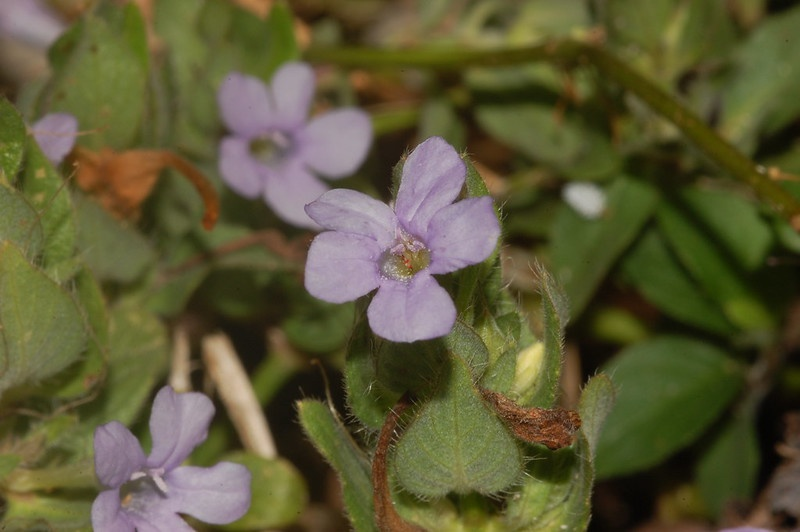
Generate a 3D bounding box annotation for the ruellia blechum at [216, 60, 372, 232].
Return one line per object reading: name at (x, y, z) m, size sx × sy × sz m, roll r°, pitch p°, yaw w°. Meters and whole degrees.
ruellia blechum at (-0.254, -0.260, 2.222) m, size 0.081 × 0.335 × 0.289 m, roll 19°, pitch 34°, yaw 39°
